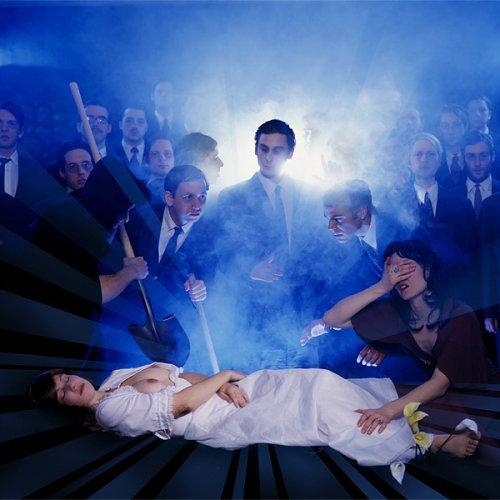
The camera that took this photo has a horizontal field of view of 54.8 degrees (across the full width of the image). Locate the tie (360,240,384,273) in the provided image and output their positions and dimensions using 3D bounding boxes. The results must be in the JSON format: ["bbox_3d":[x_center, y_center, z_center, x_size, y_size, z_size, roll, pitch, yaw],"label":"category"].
[{"bbox_3d":[1.095,0.067,4.380,0.095,0.363,0.082,-30,-13,-3],"label":"tie"}]

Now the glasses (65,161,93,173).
[{"bbox_3d":[-1.532,-0.742,4.326,0.229,0.107,0.040,-3,6,-22],"label":"glasses"}]

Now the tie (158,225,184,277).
[{"bbox_3d":[-0.706,0.016,4.373,0.264,0.385,0.100,13,-9,30],"label":"tie"}]

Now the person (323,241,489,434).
[{"bbox_3d":[1.114,0.580,3.575,1.444,1.212,1.079,3,-11,-34],"label":"person"}]

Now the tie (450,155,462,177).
[{"bbox_3d":[1.891,-0.772,4.446,0.101,0.177,0.044,-1,-3,-3],"label":"tie"}]

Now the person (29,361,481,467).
[{"bbox_3d":[-0.114,0.978,3.008,2.147,0.517,0.606,0,6,8],"label":"person"}]
